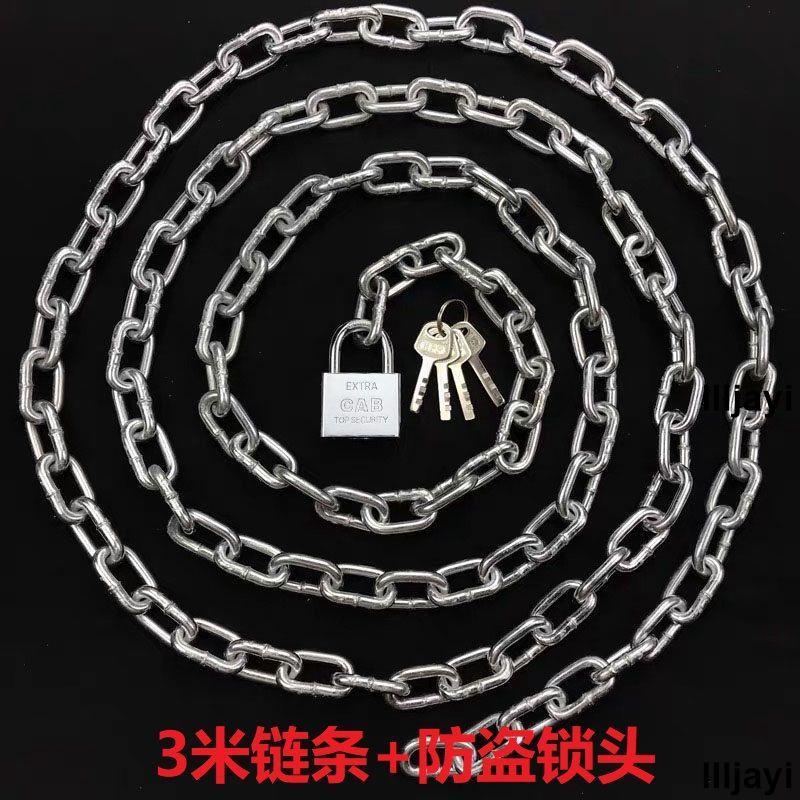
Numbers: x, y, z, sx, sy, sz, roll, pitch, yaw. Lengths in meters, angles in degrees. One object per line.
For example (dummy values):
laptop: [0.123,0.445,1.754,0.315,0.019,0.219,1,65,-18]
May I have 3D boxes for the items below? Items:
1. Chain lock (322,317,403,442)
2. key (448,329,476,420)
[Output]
Chain lock: [-0.090,-0.066,2.204,0.179,0.338,0.044,-1,36,-4]
key: [0.157,-0.066,2.325,0.067,0.009,0.223,-14,86,22]
